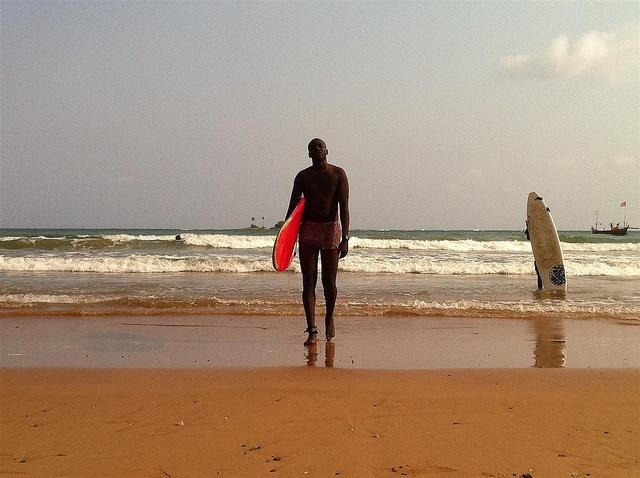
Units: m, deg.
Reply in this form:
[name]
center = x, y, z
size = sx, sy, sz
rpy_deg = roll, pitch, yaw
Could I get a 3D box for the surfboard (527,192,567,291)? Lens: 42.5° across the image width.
[surfboard]
center = 3.946, 0.009, 14.608
size = 0.512, 0.285, 2.573
rpy_deg = -16, -52, 11

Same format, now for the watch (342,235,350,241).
[watch]
center = 0.278, -0.010, 9.125
size = 0.048, 0.048, 0.062
rpy_deg = 35, 12, 34

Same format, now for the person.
[person]
center = 0.003, 0.014, 9.161
size = 0.683, 2.346, 0.581
rpy_deg = -5, 15, -18
